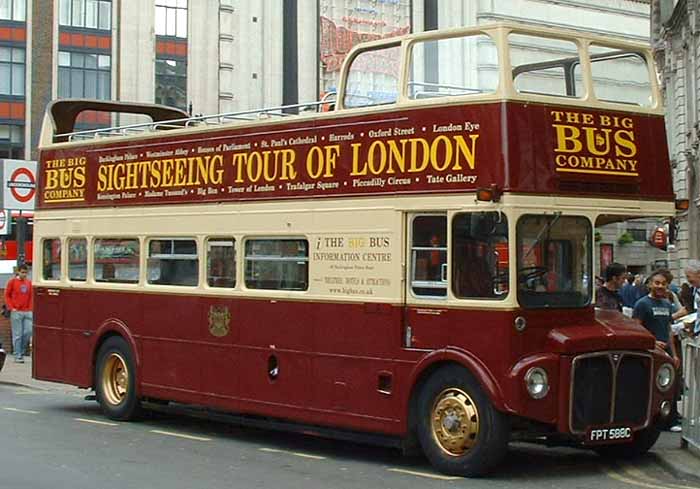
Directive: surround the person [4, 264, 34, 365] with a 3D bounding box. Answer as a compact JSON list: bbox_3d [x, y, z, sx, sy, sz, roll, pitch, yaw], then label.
[{"bbox_3d":[-8.798,1.861,20.638,0.627,2.559,0.600,0,-2,-25],"label":"person"}]
